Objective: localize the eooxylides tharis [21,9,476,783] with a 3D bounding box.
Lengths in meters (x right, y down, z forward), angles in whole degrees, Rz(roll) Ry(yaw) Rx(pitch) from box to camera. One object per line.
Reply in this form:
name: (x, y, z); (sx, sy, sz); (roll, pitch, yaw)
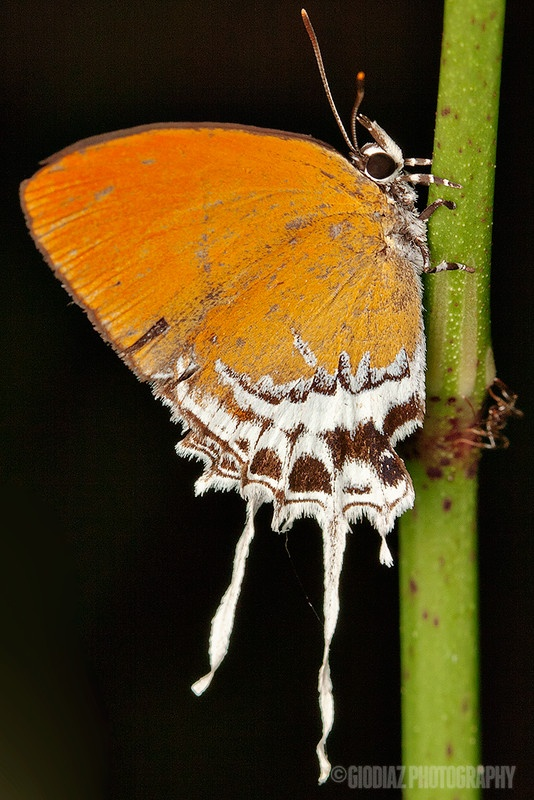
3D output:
eooxylides tharis: (0.054, -0.137, 1.838); (1.173, 0.873, 1.111); (-6, -59, -6)
